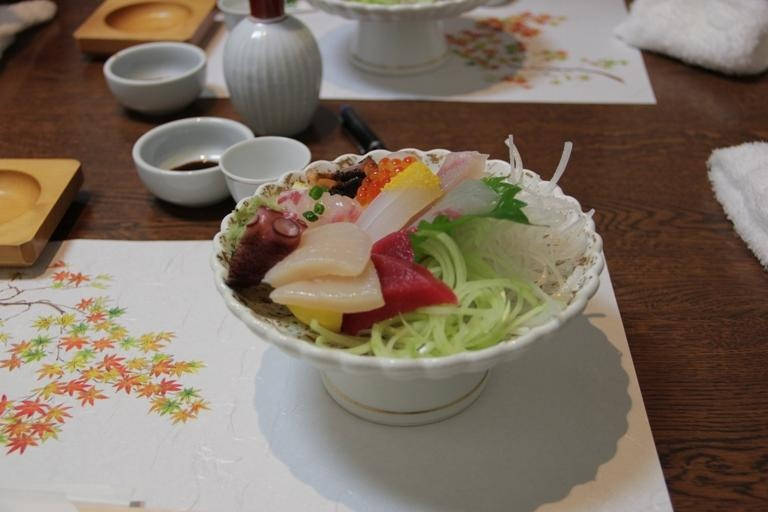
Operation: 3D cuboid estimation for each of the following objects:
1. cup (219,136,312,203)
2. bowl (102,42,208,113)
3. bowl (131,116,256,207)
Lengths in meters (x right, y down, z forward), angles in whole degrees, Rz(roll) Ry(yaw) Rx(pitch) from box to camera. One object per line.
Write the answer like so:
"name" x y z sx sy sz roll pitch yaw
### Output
"cup" -0.260 -0.185 1.413 0.145 0.087 0.137 0 46 0
"bowl" -0.628 -0.484 1.797 0.267 0.120 0.258 2 42 -2
"bowl" -0.443 -0.274 1.536 0.256 0.124 0.256 1 42 -1
